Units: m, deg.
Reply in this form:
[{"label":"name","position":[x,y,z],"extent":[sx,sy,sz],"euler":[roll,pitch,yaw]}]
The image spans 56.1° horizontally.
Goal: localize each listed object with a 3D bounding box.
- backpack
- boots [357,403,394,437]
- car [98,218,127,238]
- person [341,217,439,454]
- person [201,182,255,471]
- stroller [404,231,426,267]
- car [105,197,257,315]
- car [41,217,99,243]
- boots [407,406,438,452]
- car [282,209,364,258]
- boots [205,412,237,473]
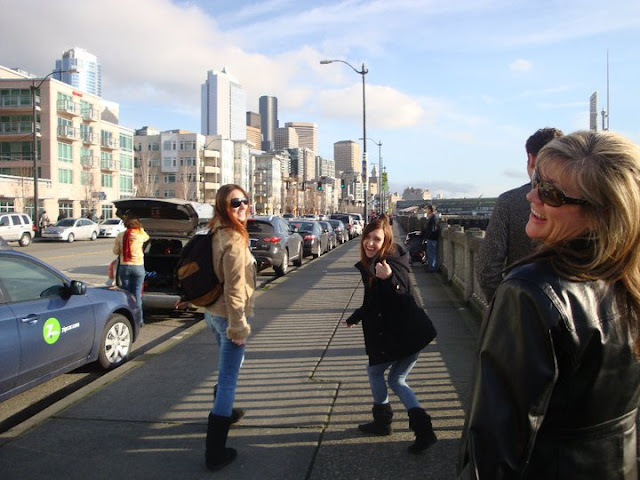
[{"label":"backpack","position":[-0.973,0.141,4.778],"extent":[0.394,0.752,0.538],"euler":[-2,41,-12]},{"label":"boots","position":[0.456,1.464,4.906],"extent":[0.310,0.254,0.137],"euler":[0,-12,11]},{"label":"car","position":[-12.041,-0.671,34.611],"extent":[1.261,1.101,2.285],"euler":[-1,0,1]},{"label":"person","position":[0.563,0.713,4.757],"extent":[0.699,1.751,0.606],"euler":[0,4,7]},{"label":"person","position":[-0.703,0.611,4.631],"extent":[0.381,2.068,0.638],"euler":[-1,4,-8]},{"label":"stroller","position":[2.409,0.234,15.066],"extent":[0.556,0.724,0.784],"euler":[3,41,2]},{"label":"car","position":[-2.314,0.242,10.620],"extent":[1.790,1.880,2.980],"euler":[0,5,10]},{"label":"car","position":[-15.360,-0.572,37.068],"extent":[1.416,1.105,2.921],"euler":[-2,-2,19]},{"label":"boots","position":[0.773,1.432,4.564],"extent":[0.213,0.357,0.172],"euler":[-1,4,0]},{"label":"car","position":[-0.077,-0.153,23.998],"extent":[1.207,1.029,4.184],"euler":[1,6,15]},{"label":"boots","position":[-0.742,1.512,4.537],"extent":[0.165,0.358,0.353],"euler":[2,-2,17]}]
